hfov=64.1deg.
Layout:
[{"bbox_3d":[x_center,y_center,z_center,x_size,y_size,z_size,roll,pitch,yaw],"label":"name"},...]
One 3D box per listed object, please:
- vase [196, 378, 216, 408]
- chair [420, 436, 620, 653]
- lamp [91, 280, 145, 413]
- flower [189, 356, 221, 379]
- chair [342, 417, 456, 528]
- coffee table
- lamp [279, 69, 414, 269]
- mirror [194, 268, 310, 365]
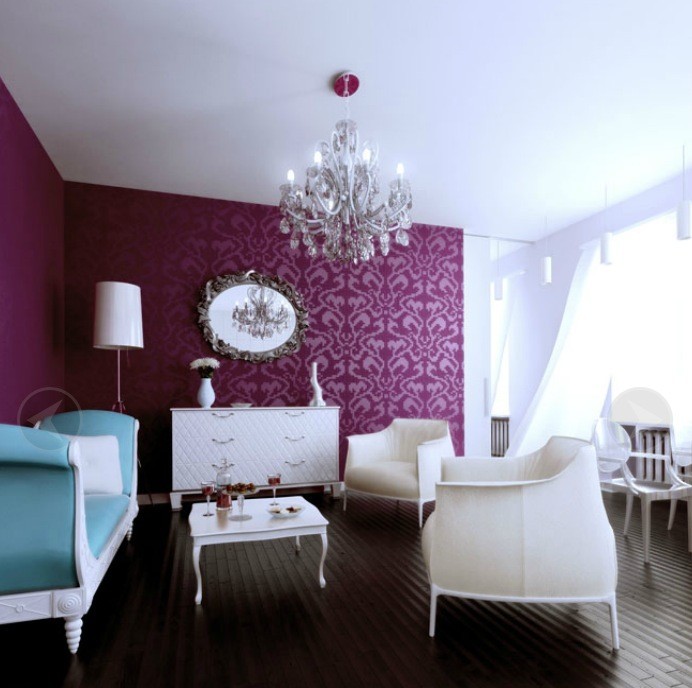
[{"bbox_3d":[-1.253,0.438,4.936,0.137,0.266,0.195,0,-1,-31],"label":"vase"},{"bbox_3d":[0.854,0.870,2.867,0.738,0.991,1.019,1,-10,7],"label":"chair"},{"bbox_3d":[-1.956,0.038,4.773,0.402,1.140,0.654,0,-1,-25],"label":"lamp"},{"bbox_3d":[-1.311,0.218,5.094,0.230,0.194,0.395,0,-1,-18],"label":"flower"},{"bbox_3d":[0.494,1.024,4.703,0.766,0.951,0.751,-4,-9,40],"label":"chair"},{"bbox_3d":[-0.510,1.179,3.282,0.820,0.387,0.617,1,-1,-17],"label":"coffee table"},{"bbox_3d":[-0.091,-0.827,3.746,0.910,1.615,0.945,0,0,-36],"label":"lamp"},{"bbox_3d":[-0.978,-0.257,5.417,0.706,0.825,0.047,4,-7,-37],"label":"mirror"}]
